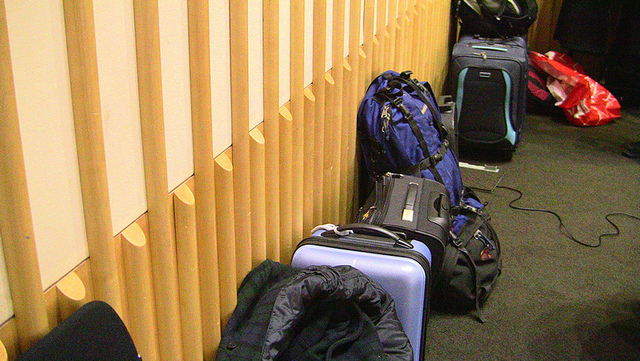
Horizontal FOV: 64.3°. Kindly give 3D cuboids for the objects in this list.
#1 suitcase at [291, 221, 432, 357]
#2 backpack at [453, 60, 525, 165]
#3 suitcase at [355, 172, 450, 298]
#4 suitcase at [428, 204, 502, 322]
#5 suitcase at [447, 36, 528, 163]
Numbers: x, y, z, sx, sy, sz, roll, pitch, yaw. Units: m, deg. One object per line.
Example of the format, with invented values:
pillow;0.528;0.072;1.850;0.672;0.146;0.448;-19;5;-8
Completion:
suitcase;0.163;0.444;2.039;0.487;0.598;0.344;11;22;21
backpack;1.339;-0.666;4.012;0.628;0.845;0.479;6;35;20
suitcase;0.384;0.262;2.307;0.295;0.510;0.325;21;52;7
suitcase;0.766;0.442;2.616;0.199;0.550;0.540;-18;19;39
suitcase;1.379;-0.667;4.050;0.593;0.856;0.524;11;31;33
